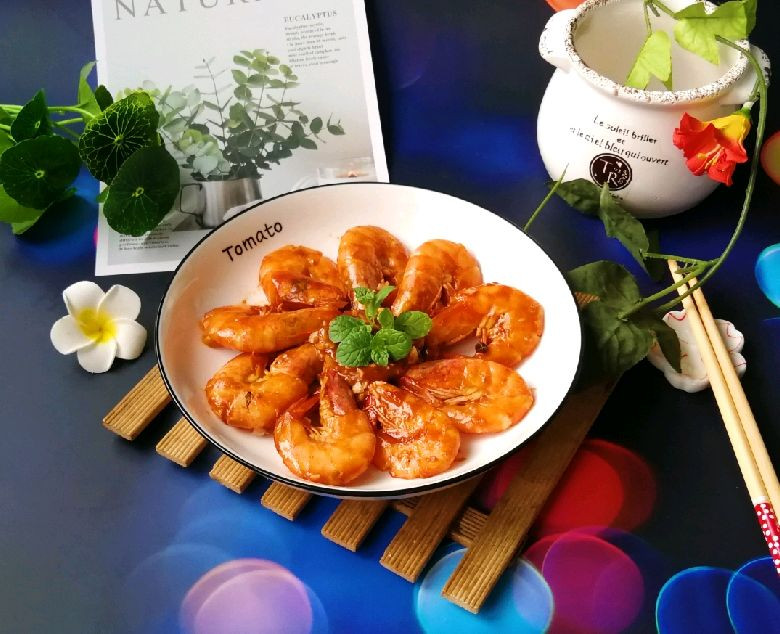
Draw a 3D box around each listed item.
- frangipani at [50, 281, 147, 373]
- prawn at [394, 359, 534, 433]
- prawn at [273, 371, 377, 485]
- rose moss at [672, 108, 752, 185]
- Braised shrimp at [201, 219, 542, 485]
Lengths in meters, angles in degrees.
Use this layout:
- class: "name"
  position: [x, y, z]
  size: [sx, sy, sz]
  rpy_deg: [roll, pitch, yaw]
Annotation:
- class: "frangipani"
  position: [-0.448, 0.014, 0.966]
  size: [0.122, 0.089, 0.124]
  rpy_deg: [2, 67, 2]
- class: "prawn"
  position: [0.094, 0.087, 0.795]
  size: [0.125, 0.029, 0.096]
  rpy_deg: [6, 73, 4]
- class: "prawn"
  position: [-0.064, 0.156, 0.810]
  size: [0.111, 0.109, 0.170]
  rpy_deg: [-9, 36, -10]
- class: "rose moss"
  position: [0.420, -0.233, 0.852]
  size: [0.099, 0.101, 0.092]
  rpy_deg: [9, 32, 11]
- class: "Braised shrimp"
  position: [-0.015, 0.035, 0.885]
  size: [0.456, 0.125, 0.478]
  rpy_deg: [-18, 43, -24]
